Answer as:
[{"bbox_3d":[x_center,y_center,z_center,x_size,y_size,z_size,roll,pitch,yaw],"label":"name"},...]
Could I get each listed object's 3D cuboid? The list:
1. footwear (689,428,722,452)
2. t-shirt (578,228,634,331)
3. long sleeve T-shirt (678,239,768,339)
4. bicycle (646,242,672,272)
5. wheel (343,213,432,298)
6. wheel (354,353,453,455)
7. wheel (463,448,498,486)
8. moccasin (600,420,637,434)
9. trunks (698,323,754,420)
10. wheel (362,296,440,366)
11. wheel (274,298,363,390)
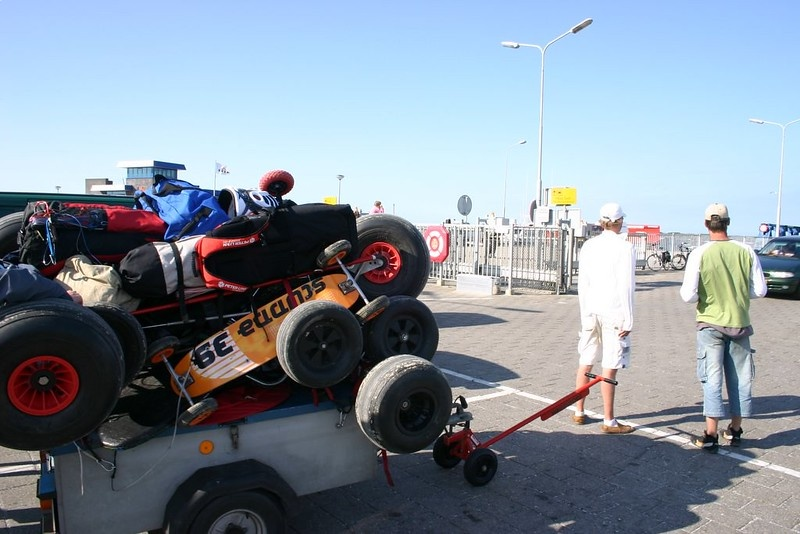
[{"bbox_3d":[3.408,1.900,7.353,0.303,0.213,0.271,7,11,34],"label":"footwear"},{"bbox_3d":[2.405,0.137,7.673,0.712,1.083,0.358,7,12,36],"label":"t-shirt"},{"bbox_3d":[3.597,0.183,7.326,0.826,0.945,0.449,4,10,23],"label":"long sleeve T-shirt"},{"bbox_3d":[11.138,-0.359,28.745,1.585,0.928,0.760,-2,8,-18],"label":"bicycle"},{"bbox_3d":[-0.168,-0.043,6.678,0.251,0.867,0.892,-28,-14,24],"label":"wheel"},{"bbox_3d":[0.077,1.194,5.659,0.806,0.771,0.348,-3,9,-31],"label":"wheel"},{"bbox_3d":[0.781,1.964,6.471,0.381,0.367,0.142,-3,3,-30],"label":"wheel"},{"bbox_3d":[2.516,1.864,7.650,0.294,0.113,0.149,-4,1,-10],"label":"moccasin"},{"bbox_3d":[3.610,1.178,7.276,0.581,1.018,0.398,2,9,9],"label":"trunks"},{"bbox_3d":[0.008,0.658,6.259,0.775,0.742,0.333,8,-4,-26],"label":"wheel"},{"bbox_3d":[-0.700,0.638,5.521,0.584,0.580,0.208,42,-11,-27],"label":"wheel"}]
